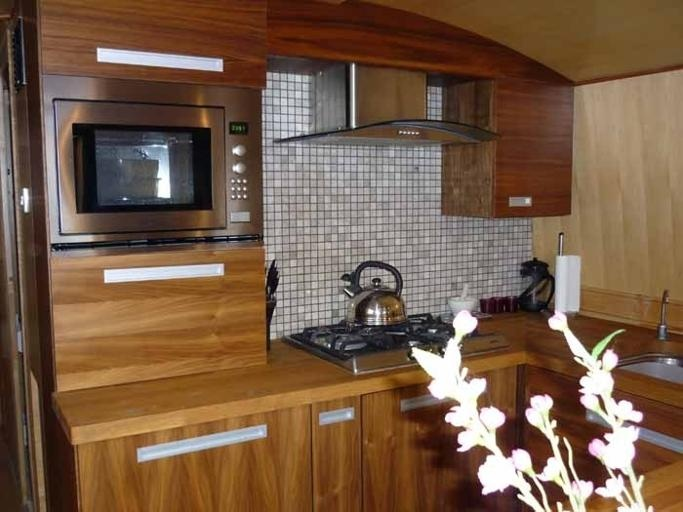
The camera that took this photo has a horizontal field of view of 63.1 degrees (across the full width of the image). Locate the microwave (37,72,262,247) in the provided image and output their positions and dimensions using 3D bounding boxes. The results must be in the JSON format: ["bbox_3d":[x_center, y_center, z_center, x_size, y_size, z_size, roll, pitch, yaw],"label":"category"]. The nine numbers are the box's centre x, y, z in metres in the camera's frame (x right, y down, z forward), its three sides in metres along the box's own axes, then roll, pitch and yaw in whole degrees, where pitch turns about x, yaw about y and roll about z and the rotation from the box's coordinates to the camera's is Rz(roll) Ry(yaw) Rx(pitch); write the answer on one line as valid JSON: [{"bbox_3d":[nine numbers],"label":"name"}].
[{"bbox_3d":[-0.796,-0.374,2.211,0.804,0.588,0.563,-2,11,-36],"label":"microwave"}]

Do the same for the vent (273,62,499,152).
[{"bbox_3d":[0.230,-0.682,2.593,0.902,0.368,0.566,-7,17,-33],"label":"vent"}]

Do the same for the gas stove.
[{"bbox_3d":[0.271,0.390,2.614,0.819,0.106,0.582,-4,4,-28],"label":"gas stove"}]

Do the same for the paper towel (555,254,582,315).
[{"bbox_3d":[1.299,0.140,3.147,0.130,0.292,0.149,-2,-5,45],"label":"paper towel"}]

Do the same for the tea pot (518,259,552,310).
[{"bbox_3d":[1.146,0.176,3.299,0.238,0.310,0.232,-4,-4,0],"label":"tea pot"}]
